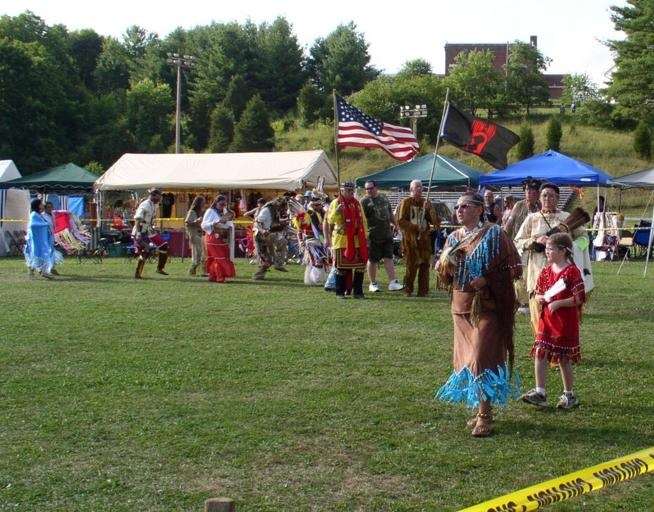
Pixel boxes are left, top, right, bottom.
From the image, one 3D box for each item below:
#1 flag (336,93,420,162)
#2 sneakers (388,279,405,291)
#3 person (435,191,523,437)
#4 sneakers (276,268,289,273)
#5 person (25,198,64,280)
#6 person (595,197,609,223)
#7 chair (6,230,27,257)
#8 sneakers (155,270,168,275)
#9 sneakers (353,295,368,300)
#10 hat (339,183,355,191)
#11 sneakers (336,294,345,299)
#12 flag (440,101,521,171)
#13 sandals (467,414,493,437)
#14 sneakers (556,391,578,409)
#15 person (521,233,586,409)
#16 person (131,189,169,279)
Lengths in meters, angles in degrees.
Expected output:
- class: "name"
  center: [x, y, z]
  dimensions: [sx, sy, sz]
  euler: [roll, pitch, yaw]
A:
- class: "flag"
  center: [0.792, -2.118, 14.704]
  dimensions: [1.374, 1.047, 0.941]
  euler: [2, 8, 2]
- class: "sneakers"
  center: [1.226, 0.500, 15.043]
  dimensions: [0.350, 0.154, 0.120]
  euler: [-3, 5, -28]
- class: "person"
  center: [1.260, 0.472, 7.557]
  dimensions: [0.675, 1.983, 0.555]
  euler: [3, 8, 16]
- class: "sneakers"
  center: [-0.884, 0.292, 18.231]
  dimensions: [0.248, 0.088, 0.180]
  euler: [8, -3, -9]
- class: "person"
  center: [-5.425, -0.343, 17.038]
  dimensions: [0.543, 1.486, 0.474]
  euler: [-3, 9, -29]
- class: "person"
  center: [7.249, -1.227, 23.755]
  dimensions: [0.292, 0.701, 1.191]
  euler: [4, 9, 16]
- class: "chair"
  center: [-8.376, -0.323, 24.231]
  dimensions: [0.541, 0.670, 0.834]
  euler: [-2, 9, -19]
- class: "sneakers"
  center: [-3.220, 0.303, 17.581]
  dimensions: [0.239, 0.085, 0.175]
  euler: [0, -39, -14]
- class: "sneakers"
  center: [0.533, 0.634, 13.795]
  dimensions: [0.180, 0.081, 0.068]
  euler: [4, 3, 22]
- class: "hat"
  center: [0.311, -1.046, 13.611]
  dimensions: [0.136, 0.076, 0.200]
  euler: [2, -2, 3]
- class: "sneakers"
  center: [0.220, 0.621, 13.751]
  dimensions: [0.126, 0.049, 0.057]
  euler: [0, 24, 26]
- class: "flag"
  center: [2.173, -1.785, 13.093]
  dimensions: [1.087, 0.889, 0.589]
  euler: [7, 10, 33]
- class: "sandals"
  center: [1.284, 1.396, 7.509]
  dimensions: [0.209, 0.183, 0.250]
  euler: [3, 8, 10]
- class: "sneakers"
  center: [2.147, 1.298, 8.039]
  dimensions: [0.090, 0.119, 0.251]
  euler: [-6, -11, 30]
- class: "person"
  center: [2.065, 0.575, 8.104]
  dimensions: [0.482, 1.538, 0.556]
  euler: [3, 8, 16]
- class: "person"
  center: [-3.396, -0.437, 17.377]
  dimensions: [0.658, 1.779, 1.520]
  euler: [0, 8, -10]
